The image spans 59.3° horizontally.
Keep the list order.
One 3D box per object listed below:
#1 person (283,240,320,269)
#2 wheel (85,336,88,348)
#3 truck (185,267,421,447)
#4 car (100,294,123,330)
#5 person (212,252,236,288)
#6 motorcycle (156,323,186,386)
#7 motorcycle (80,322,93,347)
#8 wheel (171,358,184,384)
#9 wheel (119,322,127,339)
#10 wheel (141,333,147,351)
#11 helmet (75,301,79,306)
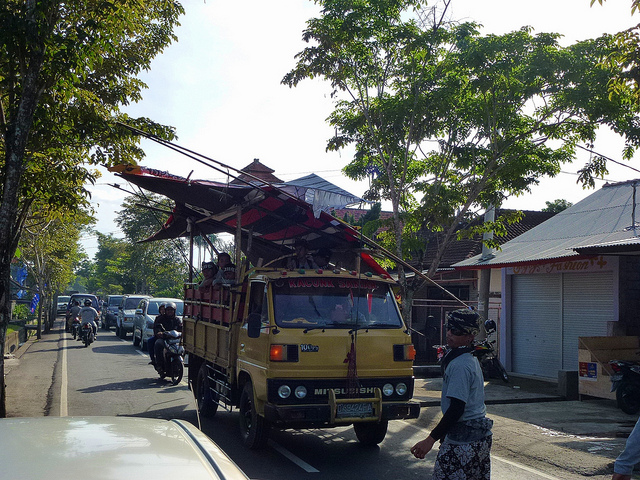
[{"bbox_3d":[-0.363,0.369,11.366,0.775,0.713,0.515,0,-14,8],"label":"person"},{"bbox_3d":[-9.306,4.078,22.359,0.143,0.435,0.538,7,-12,-21],"label":"wheel"},{"bbox_3d":[-0.646,1.903,9.685,2.162,2.013,4.574,4,-11,-25],"label":"truck"},{"bbox_3d":[-12.232,3.884,33.610,1.435,1.585,2.796,-1,14,-27],"label":"car"},{"bbox_3d":[-1.832,0.627,10.600,0.495,0.788,0.405,6,33,-10],"label":"person"},{"bbox_3d":[-3.619,2.805,13.825,0.752,1.202,1.820,3,-9,-20],"label":"motorcycle"},{"bbox_3d":[-9.246,3.750,22.294,0.457,0.908,0.524,8,-12,-24],"label":"motorcycle"},{"bbox_3d":[-3.547,3.289,14.020,0.485,0.545,0.533,2,-4,0],"label":"wheel"},{"bbox_3d":[-9.624,4.429,27.441,0.284,0.885,0.861,-1,1,-14],"label":"wheel"},{"bbox_3d":[-6.735,3.929,21.508,0.225,0.707,0.686,1,6,-10],"label":"wheel"},{"bbox_3d":[-11.236,2.984,26.059,0.222,0.219,0.218,0,5,-36],"label":"helmet"}]
